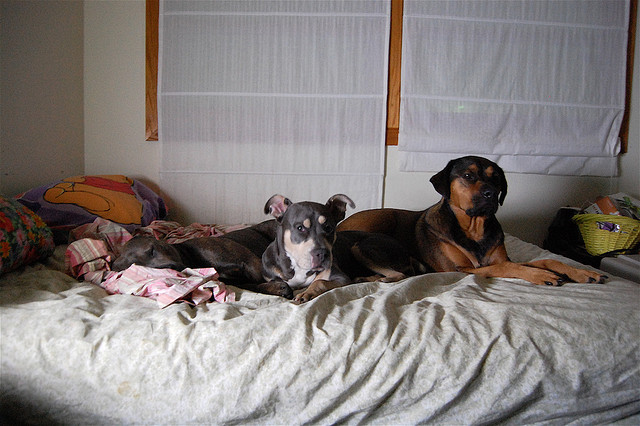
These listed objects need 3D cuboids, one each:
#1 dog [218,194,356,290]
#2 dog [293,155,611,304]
[{"bbox_3d":[-0.212,0.221,3.289,0.669,0.418,0.866,1,-4,-5],"label":"dog"},{"bbox_3d":[0.668,0.224,3.405,2.367,0.881,0.898,-9,-3,44],"label":"dog"}]
